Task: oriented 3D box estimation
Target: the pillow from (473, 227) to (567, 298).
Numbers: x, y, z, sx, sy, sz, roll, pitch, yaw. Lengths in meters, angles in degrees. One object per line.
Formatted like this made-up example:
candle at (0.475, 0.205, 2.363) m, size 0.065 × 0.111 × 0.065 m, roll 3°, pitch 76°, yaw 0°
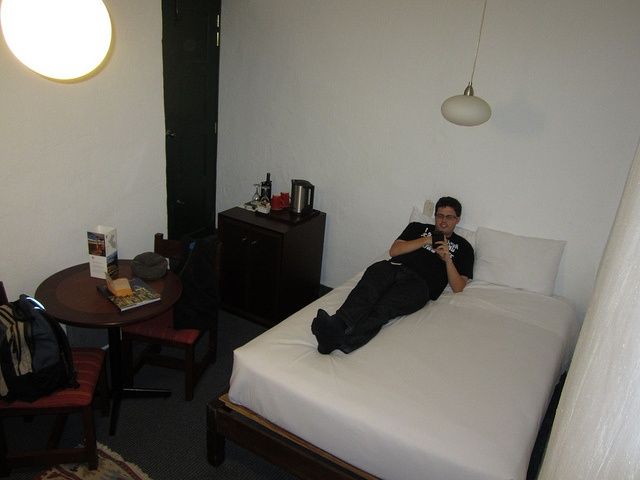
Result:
pillow at (1.494, 0.163, 3.599) m, size 0.571 × 0.473 × 0.163 m, roll 8°, pitch -8°, yaw 23°

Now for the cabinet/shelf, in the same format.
cabinet/shelf at (-0.426, 0.153, 4.373) m, size 0.902 × 1.237 × 0.995 m, roll 9°, pitch 13°, yaw 31°

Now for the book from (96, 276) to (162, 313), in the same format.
book at (-1.126, 0.327, 2.948) m, size 0.210 × 0.033 × 0.225 m, roll 36°, pitch 33°, yaw 31°

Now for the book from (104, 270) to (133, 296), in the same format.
book at (-1.225, 0.260, 2.921) m, size 0.154 × 0.127 × 0.105 m, roll -4°, pitch 19°, yaw -24°

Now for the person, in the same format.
person at (0.545, 0.267, 3.309) m, size 0.608 × 0.613 × 1.480 m, roll 26°, pitch 41°, yaw 38°

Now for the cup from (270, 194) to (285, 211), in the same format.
cup at (-0.352, -0.334, 4.248) m, size 0.130 × 0.140 × 0.082 m, roll 10°, pitch 20°, yaw 15°
